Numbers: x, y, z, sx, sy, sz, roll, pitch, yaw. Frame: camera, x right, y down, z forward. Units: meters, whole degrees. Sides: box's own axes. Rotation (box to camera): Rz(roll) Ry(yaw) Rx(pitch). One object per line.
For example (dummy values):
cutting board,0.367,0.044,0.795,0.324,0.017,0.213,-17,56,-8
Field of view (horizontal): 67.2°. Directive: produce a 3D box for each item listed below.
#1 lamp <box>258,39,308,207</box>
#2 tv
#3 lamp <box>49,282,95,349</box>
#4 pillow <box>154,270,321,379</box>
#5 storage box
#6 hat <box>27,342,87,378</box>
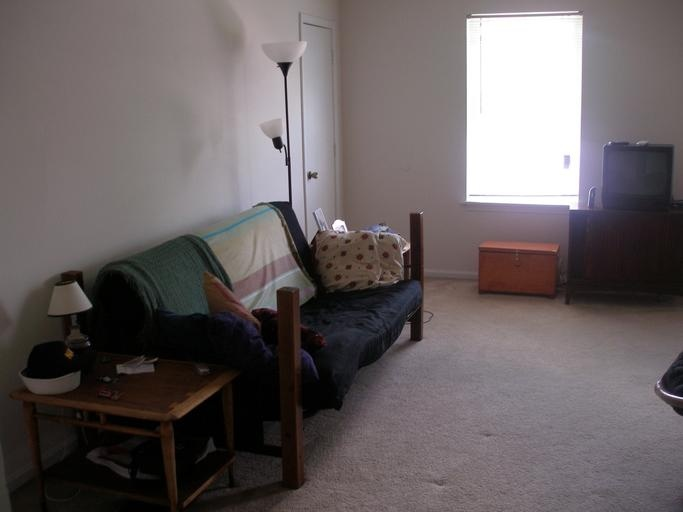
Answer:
lamp,-0.448,-1.030,4.152,0.344,1.349,0.823,-3,14,-4
tv,2.519,-0.681,4.477,0.539,0.632,0.562,3,12,28
lamp,-1.193,0.253,2.233,0.166,0.285,0.144,6,16,29
pillow,-0.534,0.281,2.327,0.489,0.179,0.508,26,12,-4
storage box,1.691,0.115,4.892,0.724,0.459,0.315,3,15,18
hat,-1.203,0.415,2.128,0.151,0.120,0.155,0,-2,18
